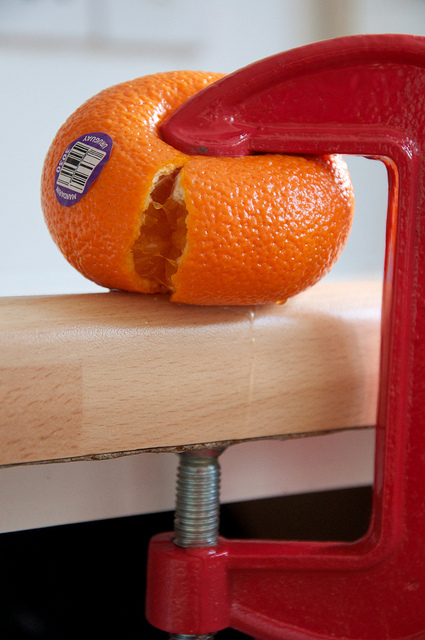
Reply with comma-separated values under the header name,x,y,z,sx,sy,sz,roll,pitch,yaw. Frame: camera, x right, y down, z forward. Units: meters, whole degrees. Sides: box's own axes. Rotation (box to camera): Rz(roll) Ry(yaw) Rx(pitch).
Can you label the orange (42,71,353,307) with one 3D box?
name,x,y,z,sx,sy,sz,roll,pitch,yaw
orange,-0.016,-0.084,0.387,0.173,0.142,0.119,11,18,34
